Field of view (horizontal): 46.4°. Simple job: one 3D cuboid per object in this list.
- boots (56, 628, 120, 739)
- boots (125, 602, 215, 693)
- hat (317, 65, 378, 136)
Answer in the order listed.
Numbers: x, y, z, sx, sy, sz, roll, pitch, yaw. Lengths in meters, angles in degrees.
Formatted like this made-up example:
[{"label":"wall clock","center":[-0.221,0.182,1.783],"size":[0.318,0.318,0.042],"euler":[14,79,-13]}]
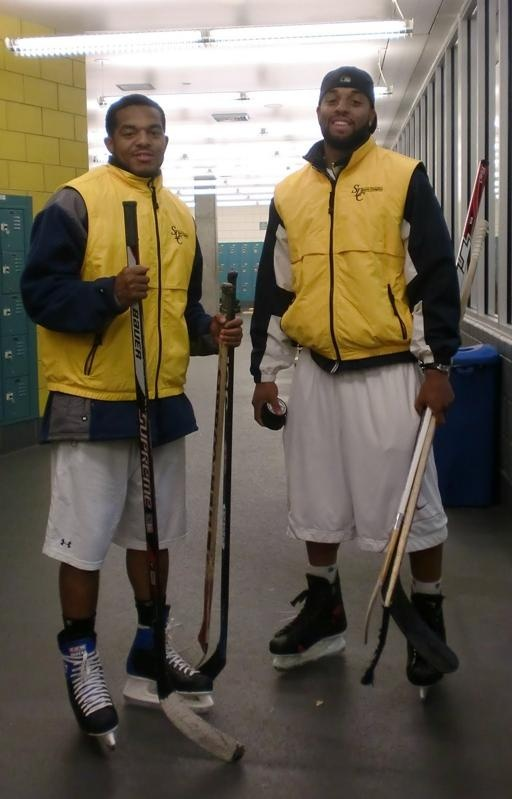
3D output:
[{"label":"boots","center":[-0.366,0.622,1.310],"size":[0.074,0.230,0.152],"euler":[-2,2,-43]},{"label":"boots","center":[-0.212,0.604,1.478],"size":[0.223,0.203,0.089],"euler":[6,-1,13]},{"label":"hat","center":[0.231,-0.746,1.494],"size":[0.111,0.129,0.166],"euler":[4,40,-10]}]
